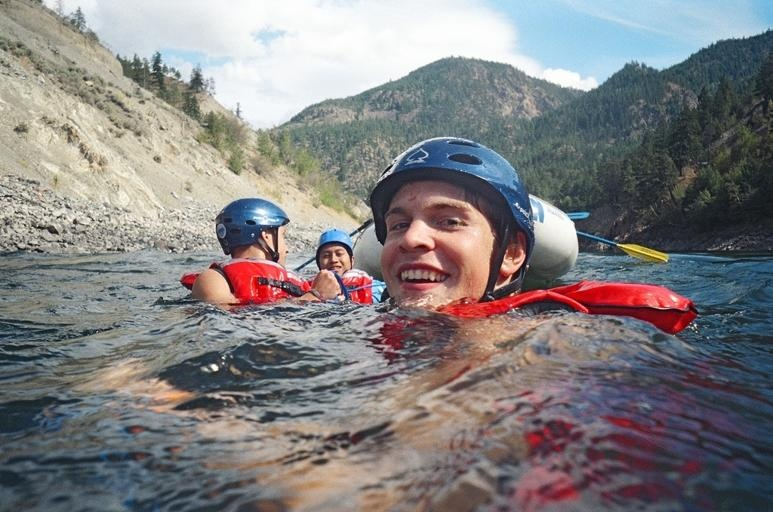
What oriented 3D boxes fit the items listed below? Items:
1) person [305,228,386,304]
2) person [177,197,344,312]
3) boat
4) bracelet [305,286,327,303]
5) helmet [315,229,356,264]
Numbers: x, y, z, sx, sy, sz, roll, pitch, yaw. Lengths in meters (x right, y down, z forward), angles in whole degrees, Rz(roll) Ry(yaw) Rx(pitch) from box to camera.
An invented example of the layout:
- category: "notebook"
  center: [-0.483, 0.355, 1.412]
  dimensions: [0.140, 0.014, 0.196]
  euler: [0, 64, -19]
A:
- category: "person"
  center: [-0.744, 0.027, 7.643]
  dimensions: [1.015, 1.197, 0.608]
  euler: [11, 28, 29]
- category: "person"
  center: [-1.256, -0.031, 5.337]
  dimensions: [1.610, 0.768, 1.211]
  euler: [-3, -5, 10]
- category: "boat"
  center: [2.119, -0.130, 7.752]
  dimensions: [2.827, 0.844, 2.092]
  euler: [7, -6, -31]
- category: "bracelet"
  center: [-0.632, 0.359, 4.685]
  dimensions: [0.138, 0.063, 0.110]
  euler: [42, -11, -29]
- category: "helmet"
  center: [-0.855, -0.217, 8.649]
  dimensions: [0.532, 0.592, 0.396]
  euler: [-2, 48, 6]
